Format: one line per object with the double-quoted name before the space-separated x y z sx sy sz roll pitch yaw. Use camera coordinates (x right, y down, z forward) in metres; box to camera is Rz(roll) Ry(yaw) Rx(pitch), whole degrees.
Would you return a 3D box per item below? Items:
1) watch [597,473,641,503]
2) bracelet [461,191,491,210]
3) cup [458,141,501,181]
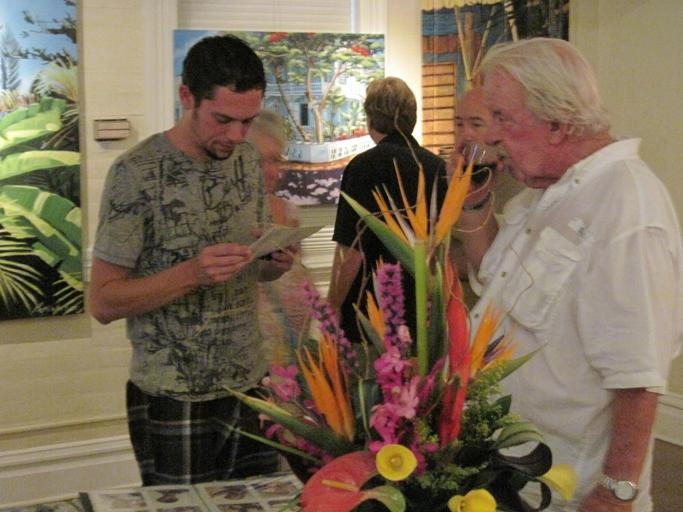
"watch" 0.550 0.467 1.181 0.069 0.033 0.054 6 14 35
"bracelet" 0.244 -0.096 1.079 0.035 0.011 0.035 -38 11 -7
"cup" 0.287 -0.202 1.177 0.079 0.065 0.068 -8 13 17
